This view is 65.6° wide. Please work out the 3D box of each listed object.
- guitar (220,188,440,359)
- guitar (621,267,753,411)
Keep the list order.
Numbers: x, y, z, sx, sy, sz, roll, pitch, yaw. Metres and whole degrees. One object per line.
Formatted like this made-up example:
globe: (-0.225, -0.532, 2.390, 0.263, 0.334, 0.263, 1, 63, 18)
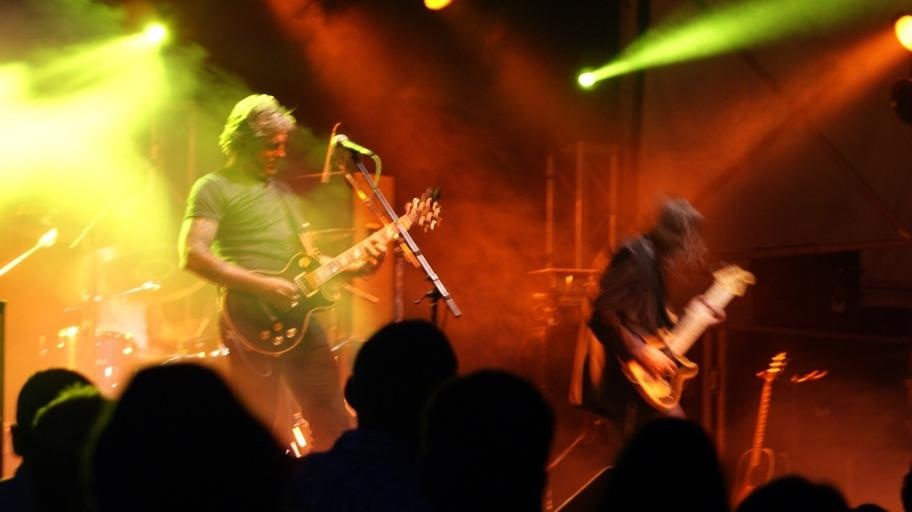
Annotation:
guitar: (-1.045, 0.149, 6.222, 1.992, 0.750, 0.227, -34, 5, -31)
guitar: (2.227, 0.836, 6.798, 1.752, 0.427, 0.740, -43, 52, -6)
